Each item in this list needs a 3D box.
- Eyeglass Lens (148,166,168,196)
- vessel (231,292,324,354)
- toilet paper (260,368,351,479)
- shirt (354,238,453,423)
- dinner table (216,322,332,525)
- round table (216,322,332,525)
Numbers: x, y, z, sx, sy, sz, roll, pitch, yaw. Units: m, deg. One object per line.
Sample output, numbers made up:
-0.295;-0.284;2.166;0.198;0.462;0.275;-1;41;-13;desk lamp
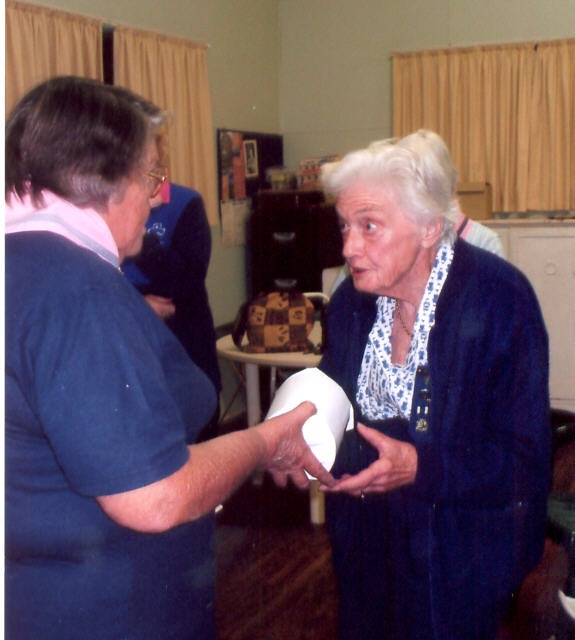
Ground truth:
-0.117;-0.127;0.555;0.005;0.020;0.017;14;12;12;Eyeglass Lens
-0.027;0.008;1.499;0.164;0.161;0.143;2;0;-5;vessel
0.020;0.114;0.784;0.090;0.144;0.103;0;38;11;toilet paper
0.174;-0.003;0.897;0.105;0.269;0.110;11;9;32;shirt
-0.032;0.213;1.608;0.296;0.489;0.369;0;20;1;dinner table
-0.009;0.226;1.620;0.296;0.489;0.369;0;20;1;round table
